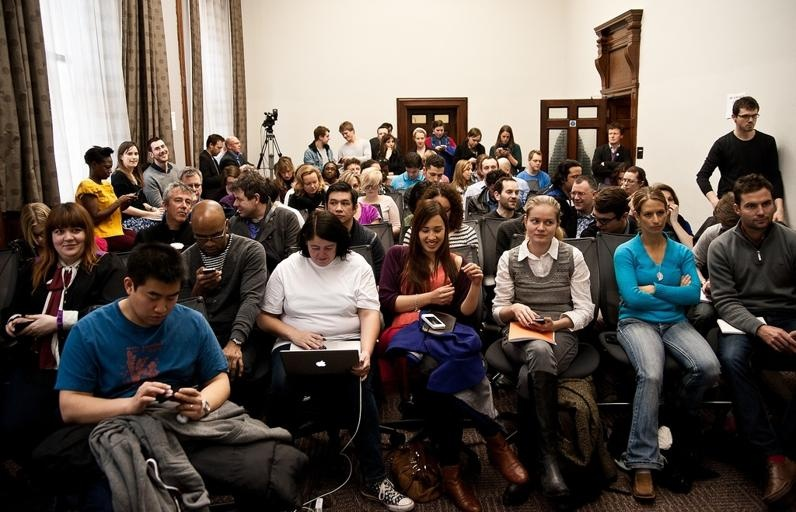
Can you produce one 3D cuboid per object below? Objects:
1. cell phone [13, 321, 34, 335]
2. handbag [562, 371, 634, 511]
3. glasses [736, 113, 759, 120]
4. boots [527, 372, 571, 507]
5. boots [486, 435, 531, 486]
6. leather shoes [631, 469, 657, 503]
[{"bbox_3d":[-2.258,0.421,3.361,0.094,0.026,0.067,-35,10,-30],"label":"cell phone"},{"bbox_3d":[1.192,1.134,3.469,0.480,0.269,0.660,4,37,1],"label":"handbag"},{"bbox_3d":[3.546,-1.409,5.598,0.192,0.070,0.091,-2,11,-7],"label":"glasses"},{"bbox_3d":[0.936,1.095,3.374,0.234,0.744,0.406,0,11,2],"label":"boots"},{"bbox_3d":[0.696,1.284,3.470,0.125,0.237,0.332,-34,22,-2],"label":"boots"},{"bbox_3d":[1.500,1.390,3.366,0.120,0.159,0.111,3,11,17],"label":"leather shoes"}]
